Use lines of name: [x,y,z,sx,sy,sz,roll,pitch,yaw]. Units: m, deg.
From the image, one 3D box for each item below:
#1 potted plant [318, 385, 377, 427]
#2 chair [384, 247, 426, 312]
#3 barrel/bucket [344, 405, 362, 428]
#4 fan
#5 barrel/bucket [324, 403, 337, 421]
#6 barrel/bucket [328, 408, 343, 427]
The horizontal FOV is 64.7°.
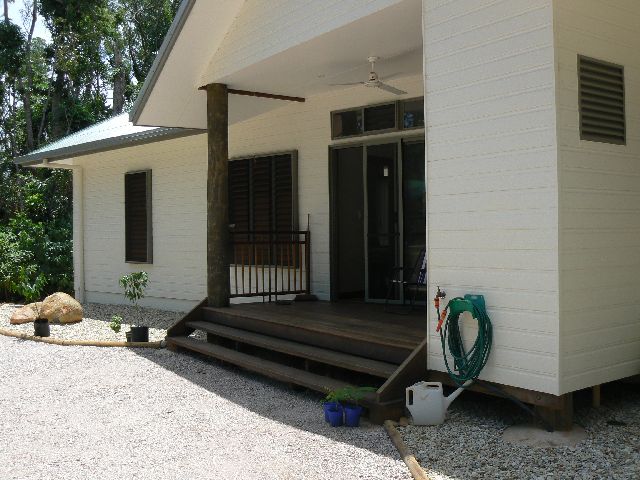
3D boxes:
potted plant: [0.232,1.477,4.546,0.447,0.274,0.431,0,1,20]
chair: [1.222,0.538,7.124,0.537,0.824,0.991,-2,2,7]
barrel/bucket: [0.284,1.538,4.420,0.184,0.140,0.161,1,-5,-2]
fan: [0.779,-2.062,6.621,0.619,0.225,0.627,6,11,31]
barrel/bucket: [0.095,1.533,4.510,0.138,0.139,0.147,-7,-23,-3]
barrel/bucket: [0.136,1.580,4.523,0.154,0.101,0.129,0,-1,-17]
